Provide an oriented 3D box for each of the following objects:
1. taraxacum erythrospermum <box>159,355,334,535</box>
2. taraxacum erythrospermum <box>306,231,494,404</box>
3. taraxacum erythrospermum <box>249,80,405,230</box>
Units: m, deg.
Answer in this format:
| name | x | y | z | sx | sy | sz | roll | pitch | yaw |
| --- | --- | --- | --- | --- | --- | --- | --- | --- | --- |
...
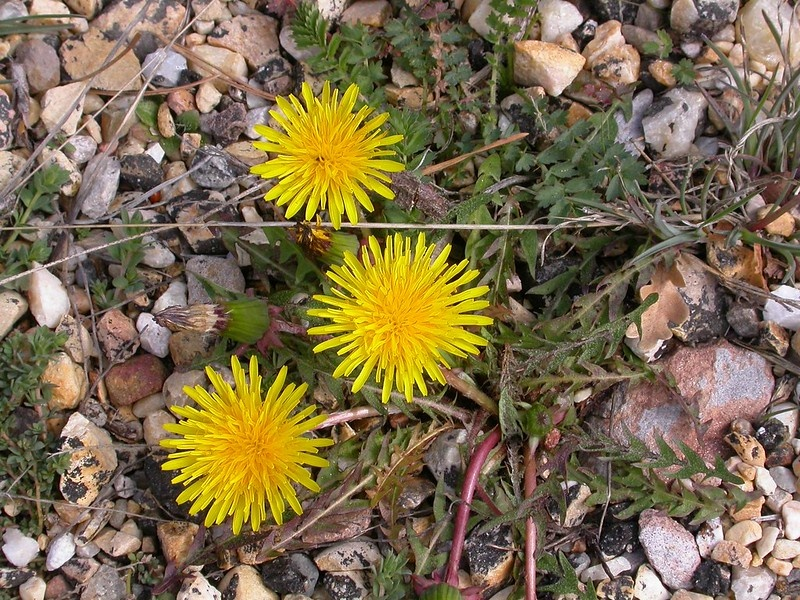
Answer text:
| name | x | y | z | sx | sy | sz | roll | pitch | yaw |
| --- | --- | --- | --- | --- | --- | --- | --- | --- | --- |
| taraxacum erythrospermum | -0.686 | 0.636 | 3.548 | 0.763 | 0.359 | 0.817 | -41 | 89 | 2 |
| taraxacum erythrospermum | -0.024 | 0.038 | 3.468 | 0.764 | 0.358 | 0.826 | -34 | 95 | -3 |
| taraxacum erythrospermum | -0.323 | -0.652 | 3.634 | 0.672 | 0.315 | 0.759 | -33 | 90 | 1 |
